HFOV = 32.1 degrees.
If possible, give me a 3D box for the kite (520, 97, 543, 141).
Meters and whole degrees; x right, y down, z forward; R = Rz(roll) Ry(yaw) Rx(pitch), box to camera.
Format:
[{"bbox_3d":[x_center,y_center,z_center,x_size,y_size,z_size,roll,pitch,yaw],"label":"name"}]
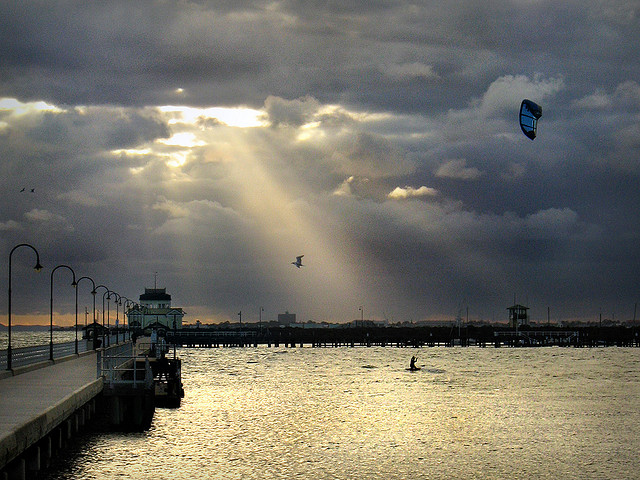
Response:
[{"bbox_3d":[21.003,-12.061,110.556,1.939,4.022,5.796,3,9,11],"label":"kite"}]
